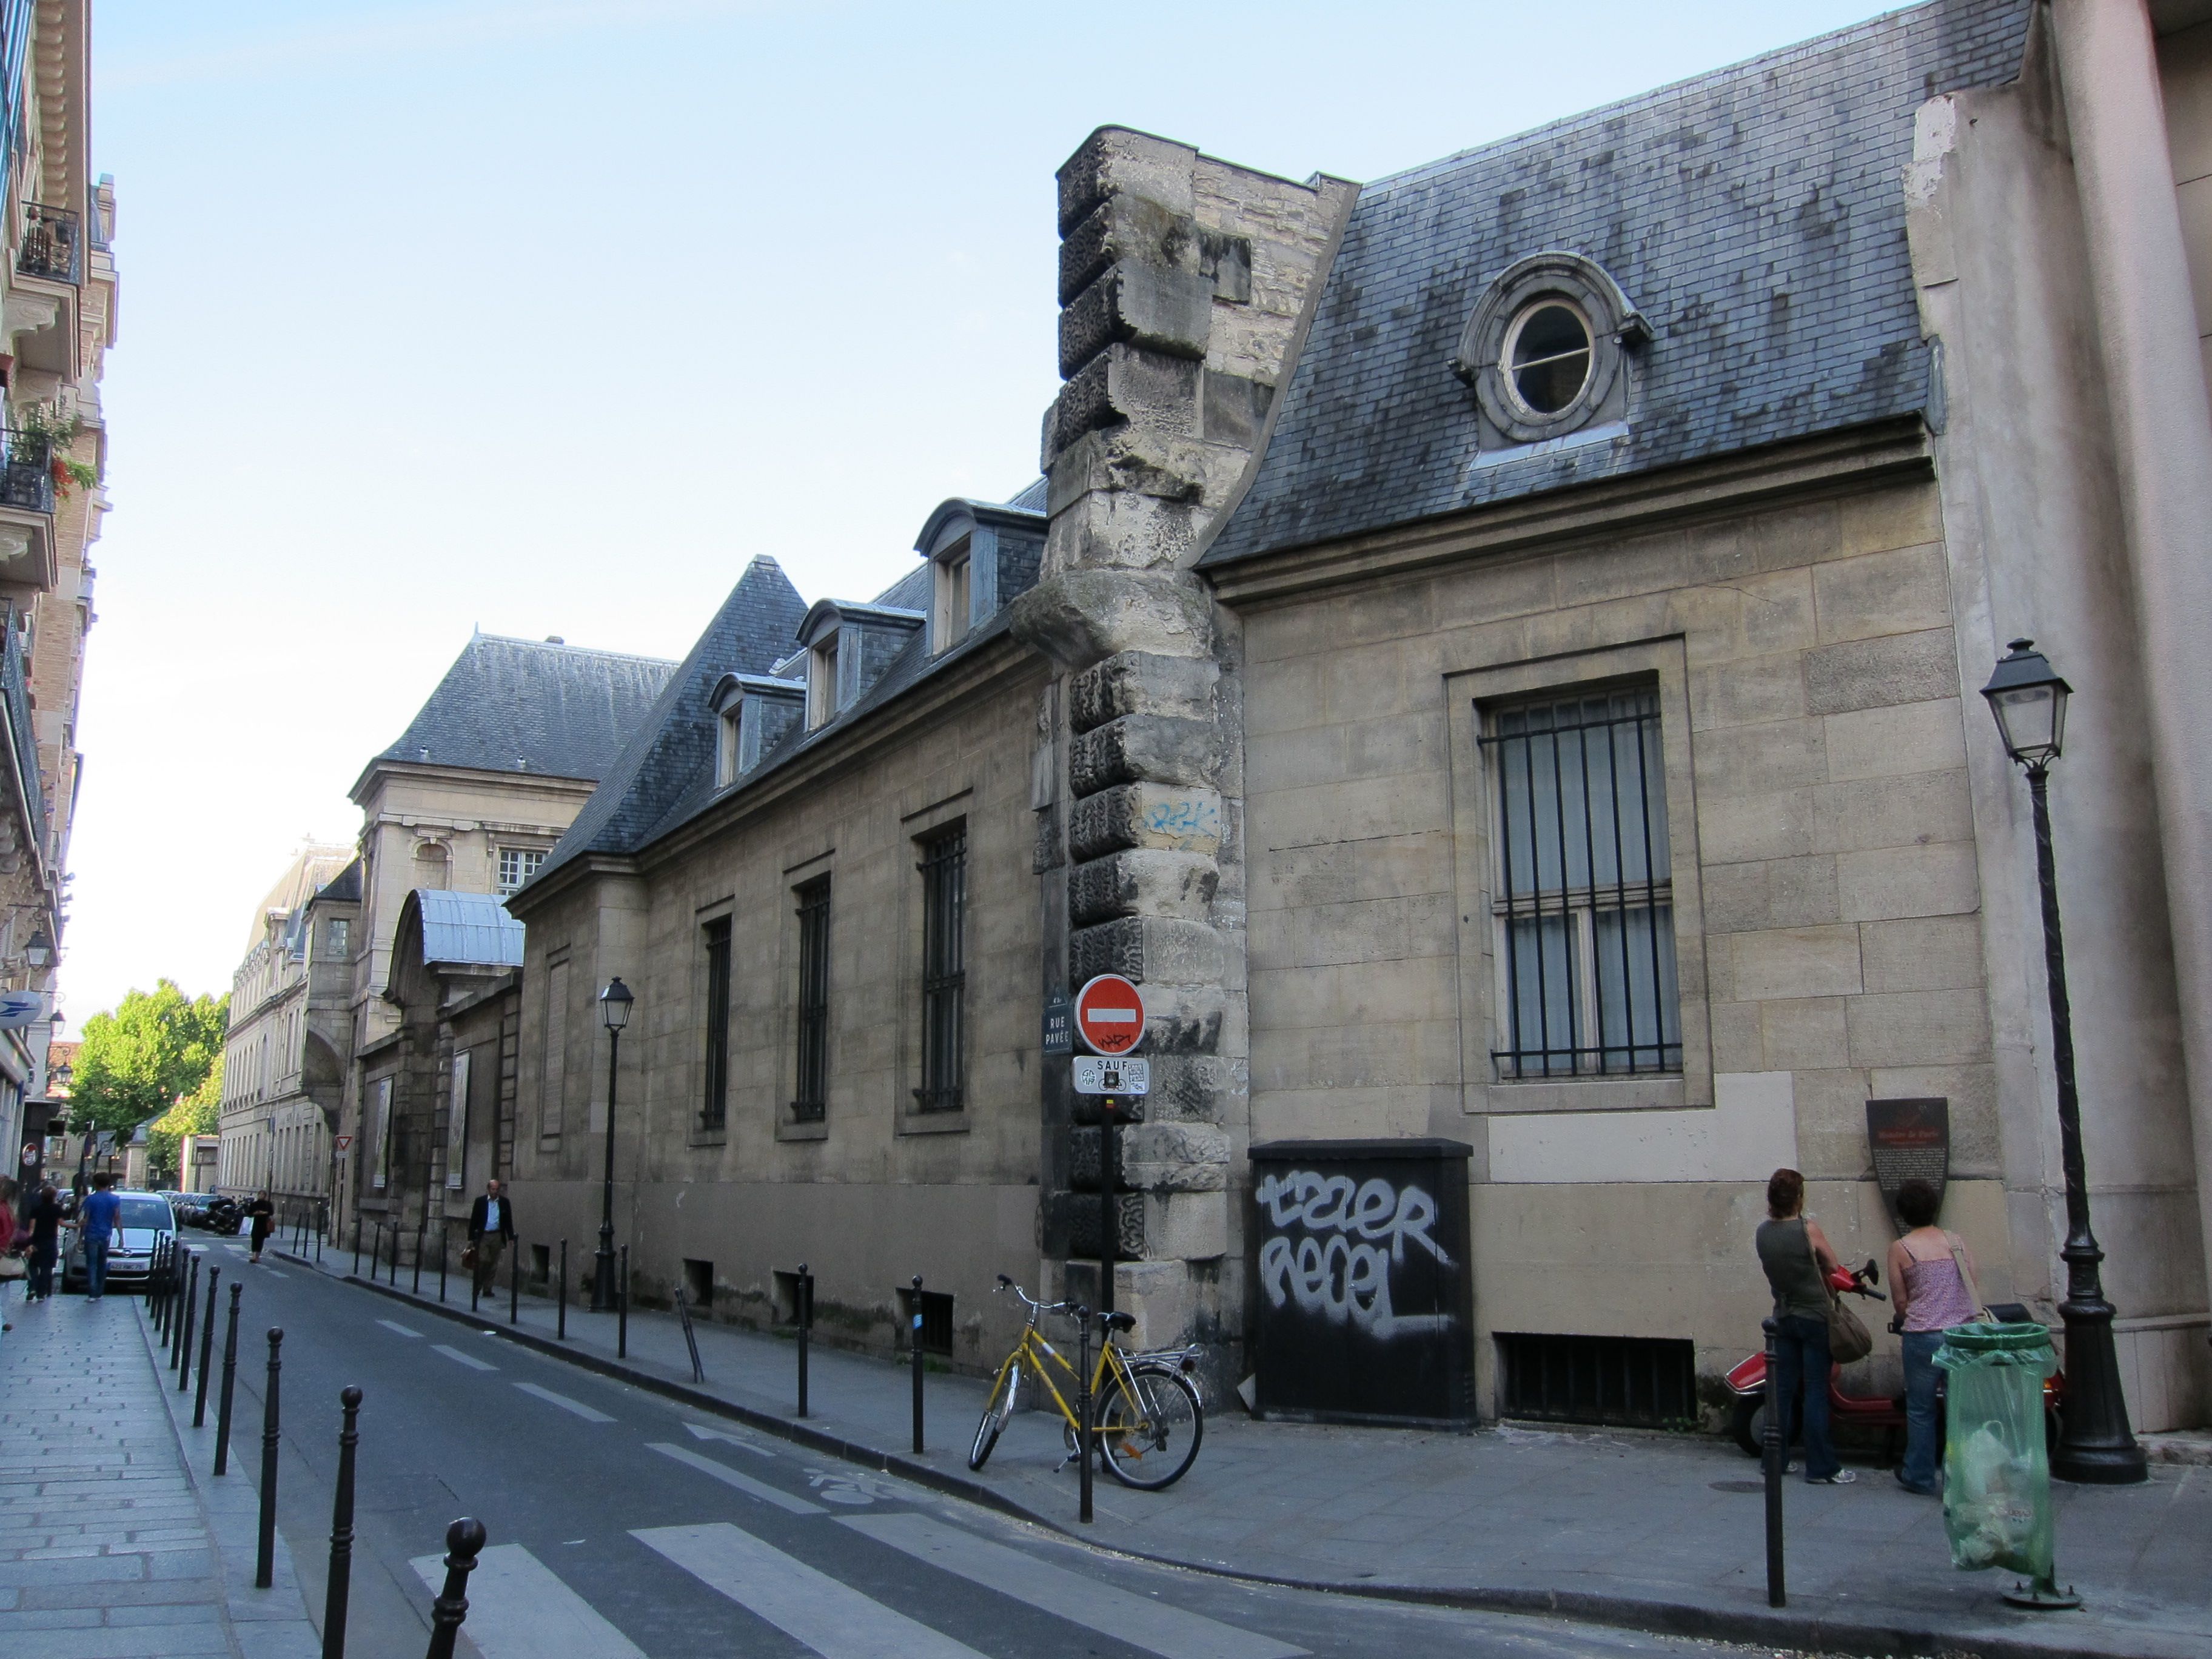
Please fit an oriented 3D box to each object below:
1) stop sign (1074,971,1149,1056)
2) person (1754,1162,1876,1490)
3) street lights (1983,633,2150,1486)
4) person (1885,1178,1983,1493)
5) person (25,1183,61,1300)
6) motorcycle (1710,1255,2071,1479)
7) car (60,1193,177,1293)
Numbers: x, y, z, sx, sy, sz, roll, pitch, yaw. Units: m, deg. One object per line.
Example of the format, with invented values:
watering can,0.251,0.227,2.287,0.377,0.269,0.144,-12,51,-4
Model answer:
stop sign,-0.009,1.385,15.155,0.524,0.660,0.528,1,-13,-18
person,4.927,3.456,13.915,0.497,2.138,0.723,-6,-12,19
street lights,6.537,1.447,13.530,0.589,5.806,0.686,-5,-12,14
person,5.700,3.447,13.617,0.606,2.062,1.096,-5,-12,15
person,-15.181,5.851,28.276,0.277,1.577,0.911,4,-14,-30
motorcycle,5.530,3.917,14.536,2.624,1.963,1.336,-3,-18,22
car,-15.362,6.454,30.812,1.378,1.338,3.044,8,-28,-34
